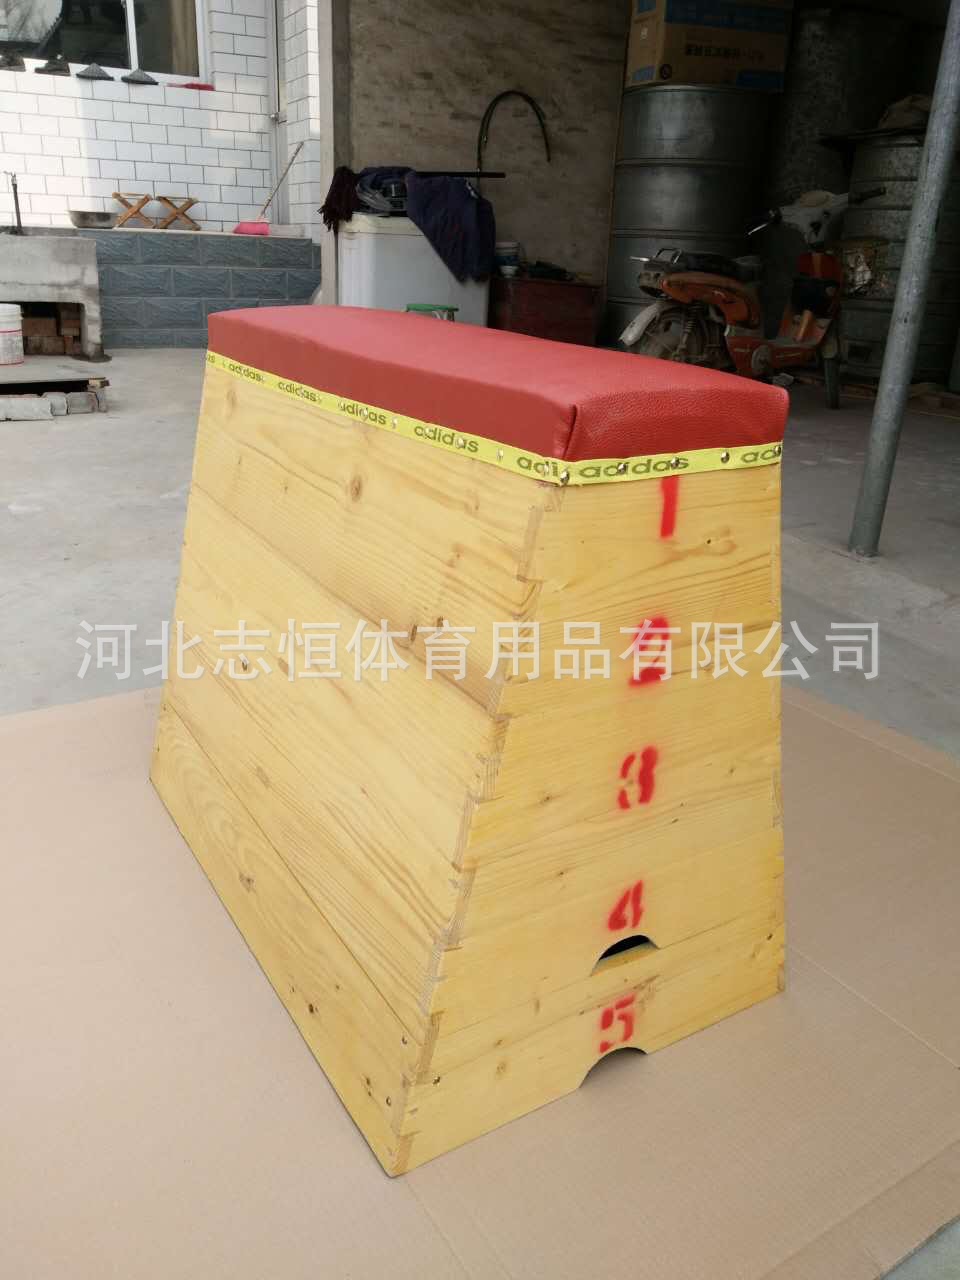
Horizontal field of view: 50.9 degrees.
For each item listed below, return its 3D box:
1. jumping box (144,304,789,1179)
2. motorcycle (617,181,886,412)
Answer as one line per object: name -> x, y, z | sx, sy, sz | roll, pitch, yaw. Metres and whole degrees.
jumping box -> -0.020, 0.037, 1.284 | 0.588, 0.811, 0.710 | -11, 26, -33
motorcycle -> 1.498, -1.747, 5.129 | 1.645, 1.004, 0.631 | -10, 22, -24
